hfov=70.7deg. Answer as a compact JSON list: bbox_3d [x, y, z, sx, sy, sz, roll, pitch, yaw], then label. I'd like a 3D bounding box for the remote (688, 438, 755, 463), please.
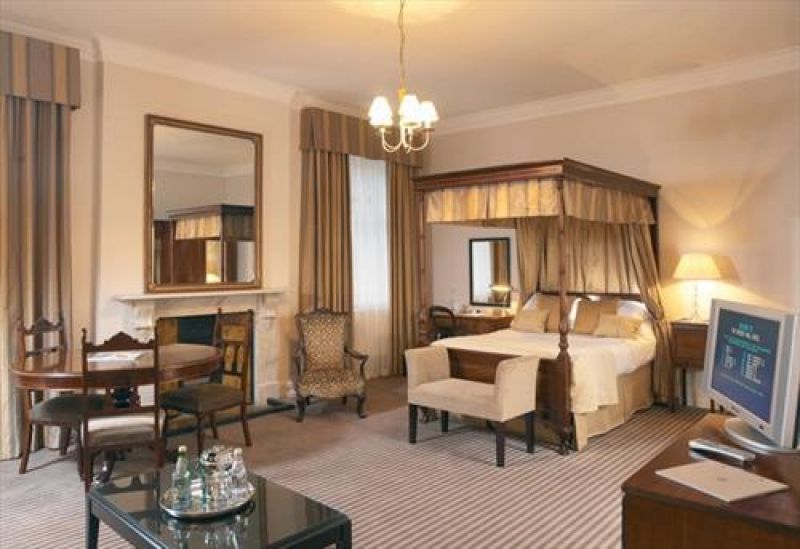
[{"bbox_3d":[1.827,1.011,3.224,0.115,0.046,0.220,0,3,-41],"label":"remote"}]

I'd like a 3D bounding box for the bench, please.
[{"bbox_3d":[0.756,1.353,6.108,1.325,1.045,0.712,5,9,33],"label":"bench"}]

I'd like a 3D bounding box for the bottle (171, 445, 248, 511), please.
[{"bbox_3d":[-1.266,1.411,3.826,0.430,0.268,0.435,1,-1,0],"label":"bottle"}]

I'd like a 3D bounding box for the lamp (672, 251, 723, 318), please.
[{"bbox_3d":[3.714,0.171,7.089,0.523,0.868,0.531,4,9,28],"label":"lamp"}]

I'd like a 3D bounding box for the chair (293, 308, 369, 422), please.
[{"bbox_3d":[-0.905,1.156,7.336,0.907,1.253,0.955,-2,8,-11],"label":"chair"}]

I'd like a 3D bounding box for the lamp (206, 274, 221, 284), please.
[{"bbox_3d":[-2.351,0.064,7.114,0.119,0.128,0.126,-1,1,-22],"label":"lamp"}]
